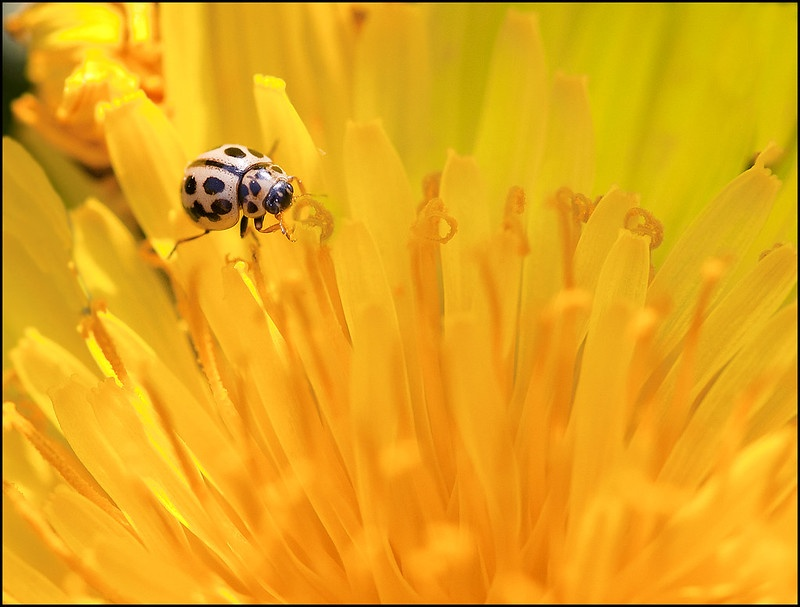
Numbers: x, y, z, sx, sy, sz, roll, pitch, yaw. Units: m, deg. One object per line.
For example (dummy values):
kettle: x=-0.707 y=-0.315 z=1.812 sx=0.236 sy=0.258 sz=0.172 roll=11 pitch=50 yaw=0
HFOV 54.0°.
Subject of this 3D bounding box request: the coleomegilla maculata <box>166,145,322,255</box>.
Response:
coleomegilla maculata: x=-0.201 y=-0.159 z=1.057 sx=0.141 sy=0.073 sz=0.149 roll=11 pitch=52 yaw=24
